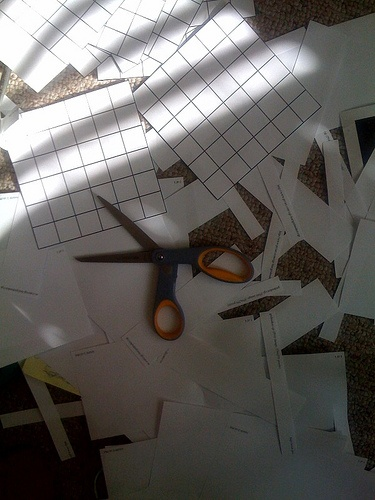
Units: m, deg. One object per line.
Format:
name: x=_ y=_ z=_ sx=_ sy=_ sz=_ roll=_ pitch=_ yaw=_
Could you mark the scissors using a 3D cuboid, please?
scissors: x=-0.054 y=0.044 z=0.926 sx=0.413 sy=0.350 sz=0.092 roll=-1 pitch=10 yaw=11
